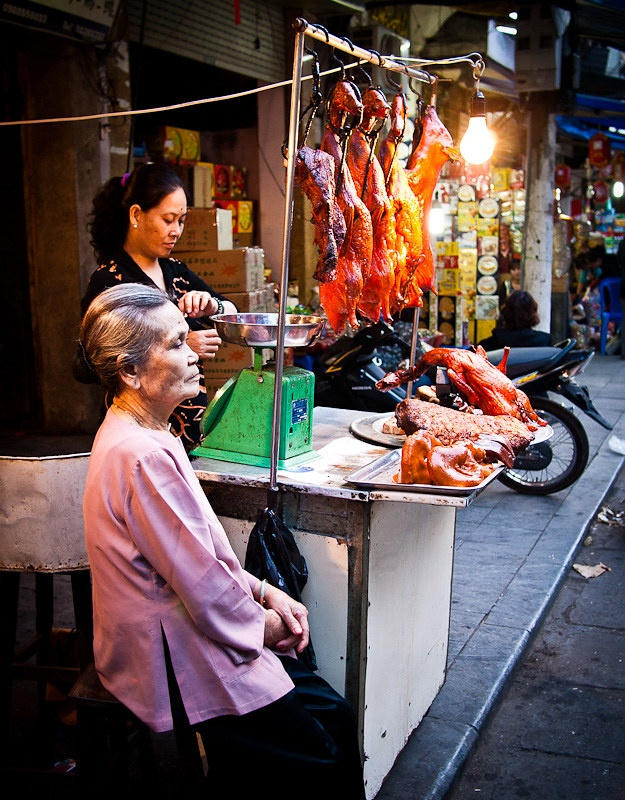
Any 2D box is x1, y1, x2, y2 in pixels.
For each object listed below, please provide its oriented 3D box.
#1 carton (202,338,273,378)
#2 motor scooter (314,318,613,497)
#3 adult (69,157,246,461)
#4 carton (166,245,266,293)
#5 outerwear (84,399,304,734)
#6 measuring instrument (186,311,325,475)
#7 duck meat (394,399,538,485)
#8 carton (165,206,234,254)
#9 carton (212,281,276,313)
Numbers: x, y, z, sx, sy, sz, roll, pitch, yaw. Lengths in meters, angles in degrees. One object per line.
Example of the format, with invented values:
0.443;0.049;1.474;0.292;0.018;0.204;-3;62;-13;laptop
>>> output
-0.593;-0.280;5.463;0.433;0.234;0.418;1;6;13;carton
0.920;-0.059;5.805;2.437;1.364;0.971;6;16;38;motor scooter
-0.570;-0.102;2.912;0.610;1.493;0.559;-4;25;-19;adult
-0.720;-0.872;5.636;0.627;0.331;0.562;3;10;17;carton
-0.290;0.354;2.014;0.667;0.875;0.694;-6;8;-17;outerwear
-0.159;-0.024;2.288;0.365;0.392;0.329;6;4;26;measuring instrument
0.400;0.122;2.047;0.290;0.065;0.276;5;14;-13;duck meat
-0.845;-1.247;5.594;0.424;0.225;0.379;2;9;9;carton
-0.456;-0.730;5.615;0.501;0.103;0.438;0;2;9;carton
